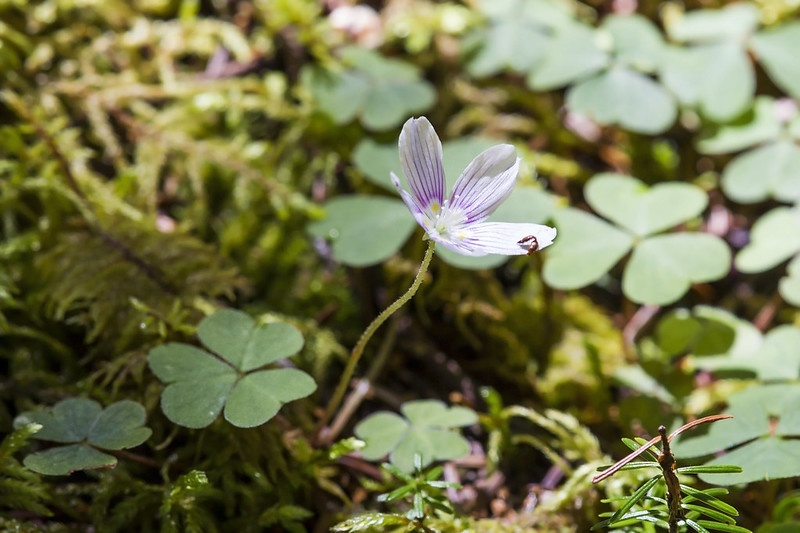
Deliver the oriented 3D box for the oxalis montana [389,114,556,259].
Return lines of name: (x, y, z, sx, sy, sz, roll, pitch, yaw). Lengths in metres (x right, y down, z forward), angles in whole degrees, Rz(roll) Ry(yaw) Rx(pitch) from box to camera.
oxalis montana: (0.204, -0.245, 2.798, 0.605, 0.605, 0.289, 36, 65, 5)
